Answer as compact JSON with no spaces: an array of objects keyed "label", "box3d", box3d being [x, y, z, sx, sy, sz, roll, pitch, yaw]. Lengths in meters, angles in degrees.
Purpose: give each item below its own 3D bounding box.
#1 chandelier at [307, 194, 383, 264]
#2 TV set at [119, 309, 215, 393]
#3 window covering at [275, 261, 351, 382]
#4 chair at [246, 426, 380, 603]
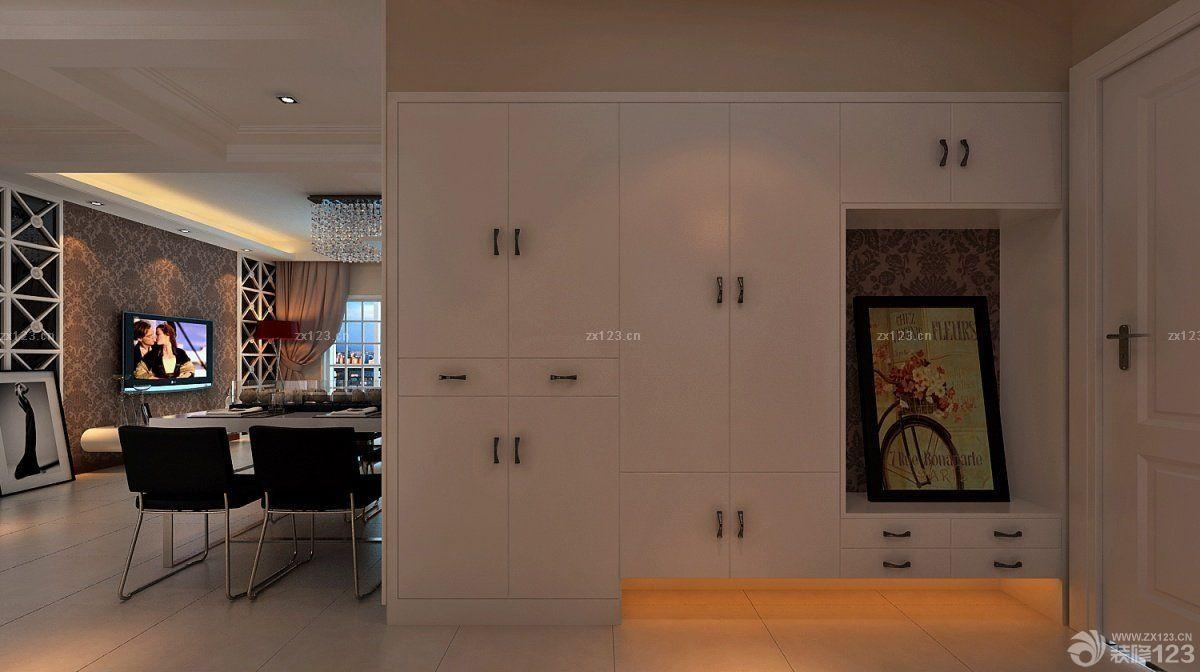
[{"label":"chandelier","box3d":[-3.144,-1.346,10.294,0.866,0.697,0.773,0,-3,-11]},{"label":"TV set","box3d":[-5.443,0.249,10.628,1.652,0.971,0.132,-1,-1,27]},{"label":"window covering","box3d":[-4.386,-0.244,12.771,1.081,1.770,0.432,-1,-3,10]},{"label":"chair","box3d":[-2.365,1.427,7.060,1.070,1.363,0.934,0,-3,-8]}]
